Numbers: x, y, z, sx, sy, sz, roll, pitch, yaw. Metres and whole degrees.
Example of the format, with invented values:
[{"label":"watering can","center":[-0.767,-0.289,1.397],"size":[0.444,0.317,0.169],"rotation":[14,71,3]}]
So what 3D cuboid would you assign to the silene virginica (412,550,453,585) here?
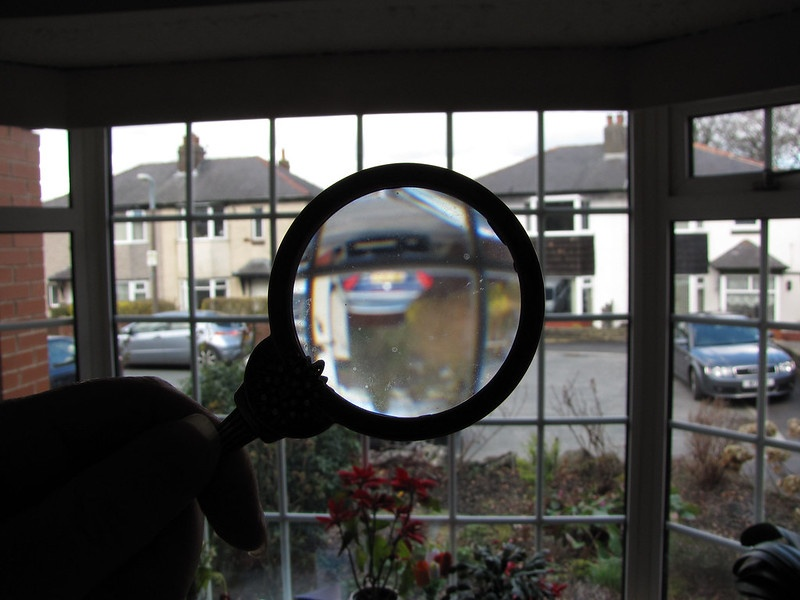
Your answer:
[{"label":"silene virginica","center":[0.094,0.773,2.346],"size":[0.091,0.080,0.136],"rotation":[11,-33,-45]}]
